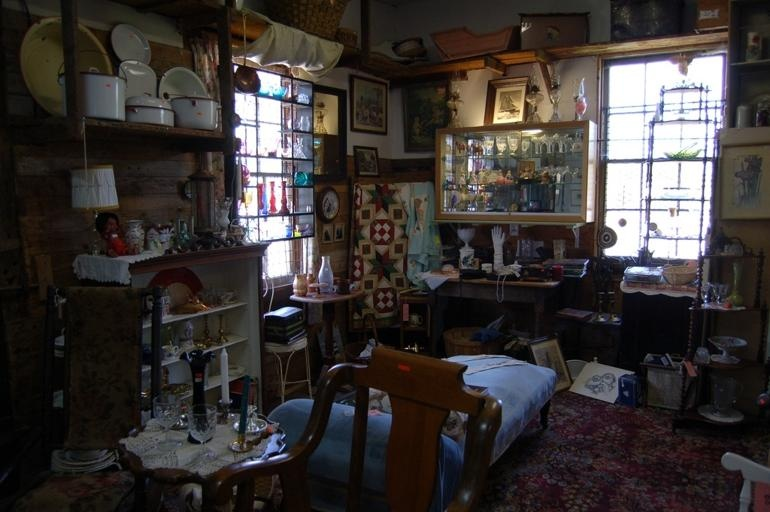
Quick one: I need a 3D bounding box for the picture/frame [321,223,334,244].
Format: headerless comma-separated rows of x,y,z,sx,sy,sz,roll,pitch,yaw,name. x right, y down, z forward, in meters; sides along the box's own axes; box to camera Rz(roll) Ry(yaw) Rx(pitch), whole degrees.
-0.633,-0.270,6.131,0.015,0.201,0.205,-3,8,33,picture/frame

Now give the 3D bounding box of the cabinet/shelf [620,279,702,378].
2.735,0.710,6.031,0.852,1.065,0.835,1,-1,23,cabinet/shelf

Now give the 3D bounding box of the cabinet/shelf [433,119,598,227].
1.485,-0.935,6.184,1.235,0.761,0.380,2,3,26,cabinet/shelf

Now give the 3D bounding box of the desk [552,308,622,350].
2.299,0.854,6.088,0.478,0.540,0.801,7,-9,-43,desk

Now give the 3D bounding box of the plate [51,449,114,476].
-1.899,1.295,3.542,0.260,0.067,0.192,3,1,-8,plate

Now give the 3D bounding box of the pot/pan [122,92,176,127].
-1.618,-1.019,3.884,0.256,0.155,0.235,1,9,-7,pot/pan

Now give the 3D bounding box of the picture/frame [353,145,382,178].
-0.217,-1.139,6.575,0.037,0.394,0.470,-6,-4,37,picture/frame

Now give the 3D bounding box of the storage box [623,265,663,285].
2.565,0.175,5.608,0.335,0.147,0.309,0,6,22,storage box

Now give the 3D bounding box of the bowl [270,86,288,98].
-0.984,-1.560,5.267,0.113,0.078,0.127,0,10,3,bowl

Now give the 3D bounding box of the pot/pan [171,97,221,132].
-1.387,-1.040,4.151,0.270,0.178,0.263,-5,10,-39,pot/pan

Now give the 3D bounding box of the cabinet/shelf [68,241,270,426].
-1.548,0.523,3.961,0.446,1.562,1.464,0,3,26,cabinet/shelf

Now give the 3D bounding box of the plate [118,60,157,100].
-1.823,-1.342,4.193,0.100,0.300,0.264,5,2,44,plate

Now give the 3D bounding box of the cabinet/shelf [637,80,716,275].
2.953,-0.870,5.664,0.691,1.827,0.625,0,6,23,cabinet/shelf

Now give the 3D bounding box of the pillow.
0.227,1.097,3.860,0.541,0.142,0.519,6,-2,12,pillow

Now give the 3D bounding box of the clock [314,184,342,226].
-0.617,-0.578,6.098,0.044,0.395,0.318,3,8,40,clock

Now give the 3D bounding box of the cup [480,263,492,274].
1.112,0.122,6.194,0.109,0.093,0.110,1,2,0,cup

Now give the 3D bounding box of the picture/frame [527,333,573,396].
1.568,1.048,5.379,0.556,0.613,0.069,-8,-18,-35,picture/frame

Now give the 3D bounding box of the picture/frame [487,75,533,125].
1.425,-1.804,6.348,0.625,0.731,0.079,4,-7,29,picture/frame

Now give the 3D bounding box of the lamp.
-1.997,-0.327,3.882,0.269,0.614,0.397,-5,7,-28,lamp

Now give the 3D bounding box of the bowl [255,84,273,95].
-1.106,-1.557,5.163,0.057,0.113,0.172,2,7,35,bowl

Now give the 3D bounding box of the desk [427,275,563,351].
1.264,0.381,6.248,1.261,1.183,0.862,1,0,29,desk

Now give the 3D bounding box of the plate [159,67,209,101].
-1.608,-1.388,4.440,0.076,0.332,0.341,8,2,44,plate

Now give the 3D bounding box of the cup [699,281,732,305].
2.913,0.319,4.994,0.205,0.221,0.213,1,-7,0,cup

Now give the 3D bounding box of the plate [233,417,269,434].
-0.752,0.955,3.161,0.115,0.020,0.116,4,4,14,plate

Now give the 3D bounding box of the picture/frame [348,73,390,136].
-0.210,-1.817,6.566,0.061,0.651,0.775,1,5,32,picture/frame

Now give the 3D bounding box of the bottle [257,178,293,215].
-1.041,-0.574,5.320,0.088,0.323,0.344,2,7,38,bottle

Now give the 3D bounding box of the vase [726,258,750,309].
3.061,0.227,4.921,0.133,0.417,0.336,2,7,33,vase

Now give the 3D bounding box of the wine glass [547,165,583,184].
1.900,-0.889,5.968,0.376,0.159,0.129,3,2,39,wine glass

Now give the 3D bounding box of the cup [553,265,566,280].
1.816,0.164,5.916,0.132,0.242,0.141,1,2,0,cup

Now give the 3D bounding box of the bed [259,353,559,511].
0.221,1.115,3.445,1.110,0.447,1.881,1,8,23,bed

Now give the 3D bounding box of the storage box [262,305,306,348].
-0.925,0.612,5.240,0.296,0.285,0.403,1,4,23,storage box

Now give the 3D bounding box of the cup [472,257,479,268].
1.014,0.069,6.292,0.081,0.093,0.234,-1,6,11,cup
